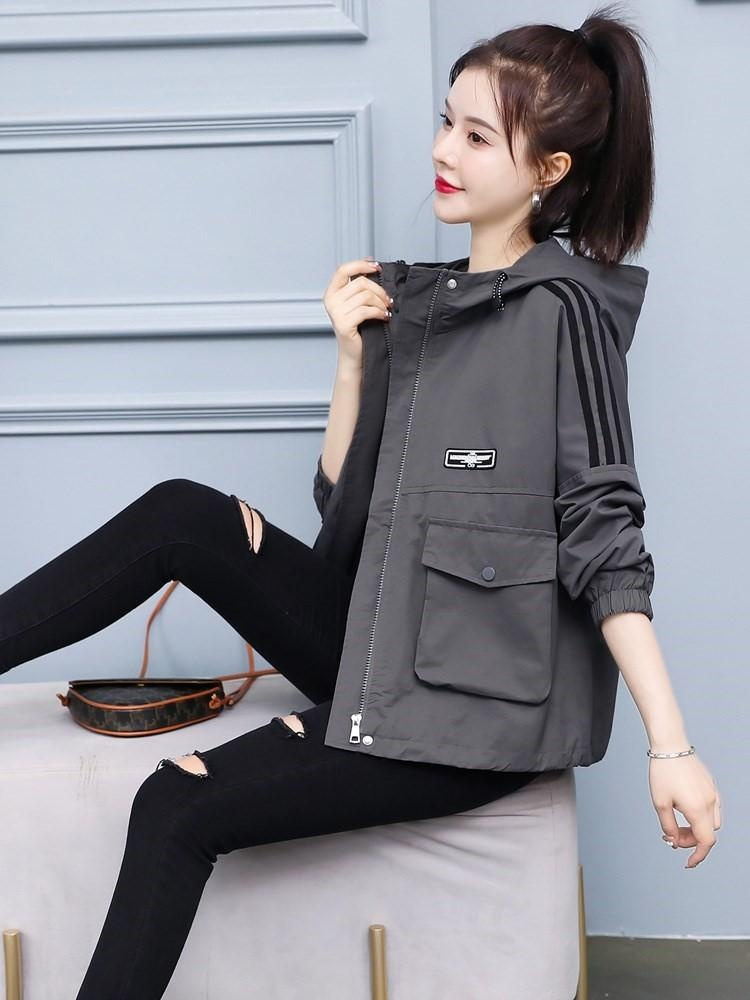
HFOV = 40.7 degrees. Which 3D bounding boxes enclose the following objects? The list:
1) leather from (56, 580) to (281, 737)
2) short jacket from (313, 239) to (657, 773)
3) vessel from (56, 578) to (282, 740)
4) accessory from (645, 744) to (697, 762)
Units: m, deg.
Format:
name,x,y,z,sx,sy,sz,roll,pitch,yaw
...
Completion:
name,x,y,z,sx,sy,sz,roll,pitch,yaw
leather,-0.301,0.216,1.448,0.255,0.161,0.189,-1,0,-35
short jacket,0.138,-0.008,1.170,0.351,0.467,0.250,-2,1,15
vessel,-0.295,0.220,1.450,0.252,0.159,0.191,-1,1,-34
accessory,0.289,0.248,0.990,0.041,0.009,0.025,-2,1,8
